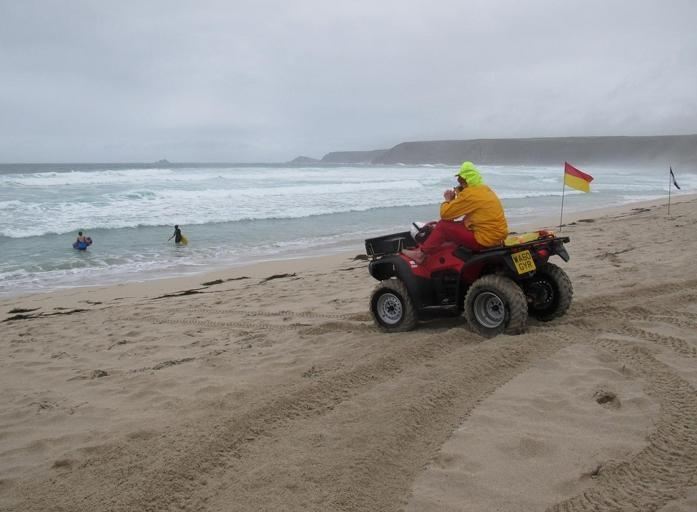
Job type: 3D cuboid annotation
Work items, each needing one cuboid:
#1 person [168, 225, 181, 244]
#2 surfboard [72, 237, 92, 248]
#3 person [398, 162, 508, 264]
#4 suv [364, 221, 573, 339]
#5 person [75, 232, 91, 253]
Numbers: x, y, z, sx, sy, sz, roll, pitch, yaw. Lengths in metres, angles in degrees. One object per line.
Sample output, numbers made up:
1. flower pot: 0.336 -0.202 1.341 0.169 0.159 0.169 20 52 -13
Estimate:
1. person: -5.730 -0.756 16.811 0.390 0.614 1.319 -10 11 -19
2. surfboard: -8.253 -0.419 15.799 0.409 0.191 0.523 -9 18 -30
3. person: 1.612 -0.530 6.866 0.980 1.334 1.619 -4 10 -26
4. suv: 1.570 0.166 7.133 2.548 1.311 1.608 -3 14 46
5. person: -8.262 -0.481 15.922 0.595 0.464 0.781 -6 19 -32
